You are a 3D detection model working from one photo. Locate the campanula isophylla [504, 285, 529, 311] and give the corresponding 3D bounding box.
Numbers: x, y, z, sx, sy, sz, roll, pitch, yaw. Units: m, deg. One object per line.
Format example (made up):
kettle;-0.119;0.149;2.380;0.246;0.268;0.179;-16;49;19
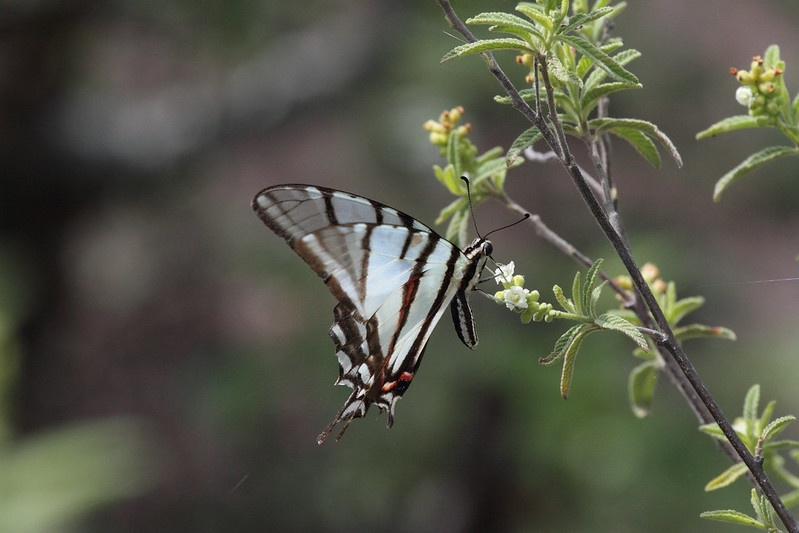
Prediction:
campanula isophylla;0.551;0.147;3.849;0.122;0.121;0.066;-9;-24;6
